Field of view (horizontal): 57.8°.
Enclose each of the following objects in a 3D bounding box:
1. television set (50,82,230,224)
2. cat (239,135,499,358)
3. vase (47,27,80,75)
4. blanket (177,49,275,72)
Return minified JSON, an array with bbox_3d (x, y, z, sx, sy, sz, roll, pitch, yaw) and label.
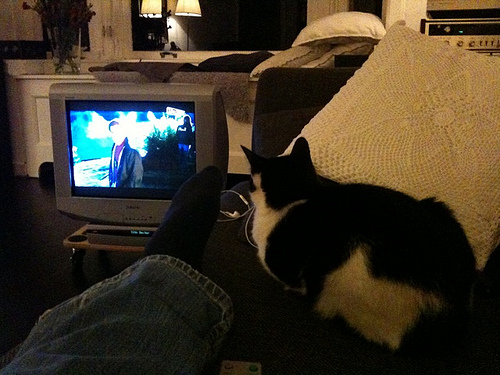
[{"bbox_3d":[-0.405,-0.129,1.823,0.663,0.548,0.386,0,10,2],"label":"television set"},{"bbox_3d":[0.169,0.094,0.973,0.563,0.290,0.289,35,62,30],"label":"cat"},{"bbox_3d":[-1.338,-0.979,3.260,0.212,0.316,0.217,-5,14,-20],"label":"vase"},{"bbox_3d":[-0.161,-0.828,3.026,0.360,0.099,0.316,11,27,39],"label":"blanket"}]
